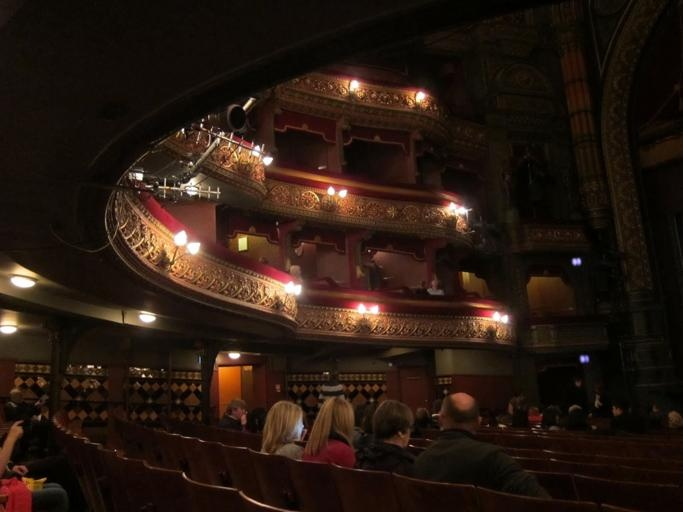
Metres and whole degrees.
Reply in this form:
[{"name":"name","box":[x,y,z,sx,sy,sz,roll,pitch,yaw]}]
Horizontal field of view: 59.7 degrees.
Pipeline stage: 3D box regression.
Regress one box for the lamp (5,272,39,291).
[{"name":"lamp","box":[-4.183,0.334,7.927,0.299,0.111,0.311,-5,-19,8]}]

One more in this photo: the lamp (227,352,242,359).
[{"name":"lamp","box":[-3.006,2.866,16.835,0.228,0.162,0.530,-9,-19,29]}]

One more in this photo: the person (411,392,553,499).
[{"name":"person","box":[0.854,1.259,4.083,0.619,0.658,0.881,4,-17,-11]}]

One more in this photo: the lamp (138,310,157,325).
[{"name":"lamp","box":[-3.489,1.117,10.731,0.300,0.198,0.311,-2,-23,3]}]
